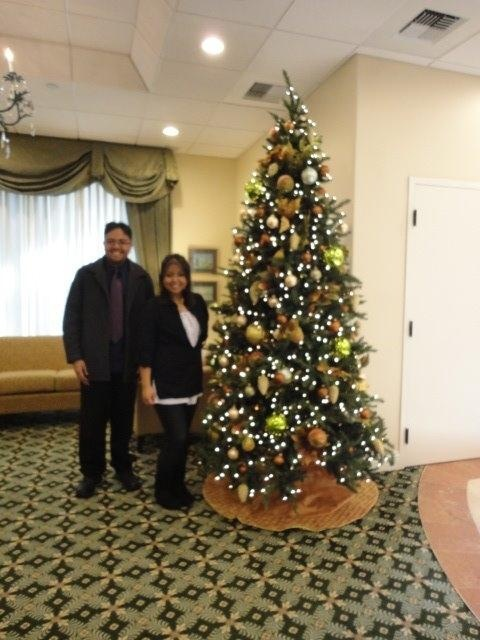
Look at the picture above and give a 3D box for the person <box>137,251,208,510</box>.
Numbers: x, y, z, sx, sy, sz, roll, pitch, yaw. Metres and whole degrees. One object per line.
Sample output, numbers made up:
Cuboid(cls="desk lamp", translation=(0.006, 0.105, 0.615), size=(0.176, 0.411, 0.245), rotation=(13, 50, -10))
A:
Cuboid(cls="person", translation=(-0.342, 0.340, 2.724), size=(0.390, 1.383, 0.272), rotation=(-2, 6, -15))
